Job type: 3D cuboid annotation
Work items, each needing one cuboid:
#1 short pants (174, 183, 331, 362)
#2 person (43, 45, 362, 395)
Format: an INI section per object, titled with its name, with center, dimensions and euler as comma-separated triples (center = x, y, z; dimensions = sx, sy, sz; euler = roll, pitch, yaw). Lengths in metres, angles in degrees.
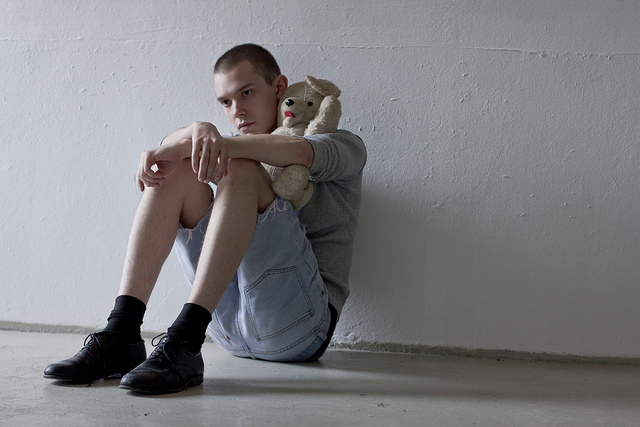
[short pants]
center = -0.290, 0.266, 2.172
dimensions = 0.367, 0.459, 0.315
euler = 21, -8, 21
[person]
center = -0.335, -0.051, 2.200
dimensions = 0.725, 1.170, 1.167
euler = -1, -8, 31
